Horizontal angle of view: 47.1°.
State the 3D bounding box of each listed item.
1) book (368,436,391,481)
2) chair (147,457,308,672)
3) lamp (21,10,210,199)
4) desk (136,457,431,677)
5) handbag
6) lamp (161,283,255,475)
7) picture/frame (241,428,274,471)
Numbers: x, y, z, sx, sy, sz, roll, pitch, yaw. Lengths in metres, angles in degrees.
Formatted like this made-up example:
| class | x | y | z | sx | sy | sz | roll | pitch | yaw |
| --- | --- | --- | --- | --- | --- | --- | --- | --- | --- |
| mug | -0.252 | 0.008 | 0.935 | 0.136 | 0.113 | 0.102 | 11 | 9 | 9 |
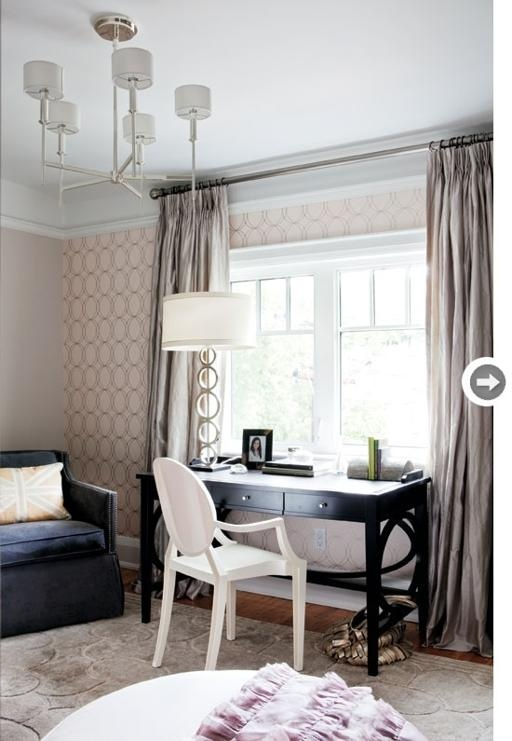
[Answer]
| class | x | y | z | sx | sy | sz | roll | pitch | yaw |
| --- | --- | --- | --- | --- | --- | --- | --- | --- | --- |
| book | 0.623 | 0.386 | 2.876 | 0.128 | 0.277 | 0.258 | 0 | 1 | 16 |
| chair | -0.110 | 0.803 | 2.417 | 0.514 | 0.904 | 0.555 | -1 | 2 | -40 |
| lamp | -0.483 | -0.952 | 2.117 | 0.545 | 0.595 | 0.475 | -2 | 4 | -9 |
| desk | 0.216 | 0.903 | 2.918 | 1.137 | 0.833 | 0.558 | -3 | 1 | 42 |
| handbag | 0.488 | 1.157 | 2.542 | 0.278 | 0.096 | 0.249 | -5 | 5 | -44 |
| lamp | -0.240 | 0.031 | 2.987 | 0.428 | 0.888 | 0.470 | 2 | 11 | 9 |
| picture/frame | 0.013 | 0.442 | 3.259 | 0.179 | 0.268 | 0.025 | 0 | -2 | 17 |
